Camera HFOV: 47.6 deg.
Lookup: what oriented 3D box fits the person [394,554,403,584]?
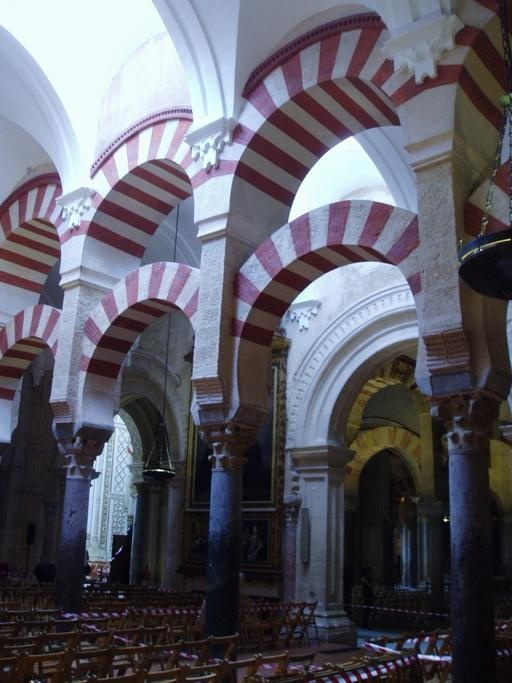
[{"bbox_3d":[4.977,7.984,20.281,0.125,0.930,0.537,-13,-24,33],"label":"person"}]
